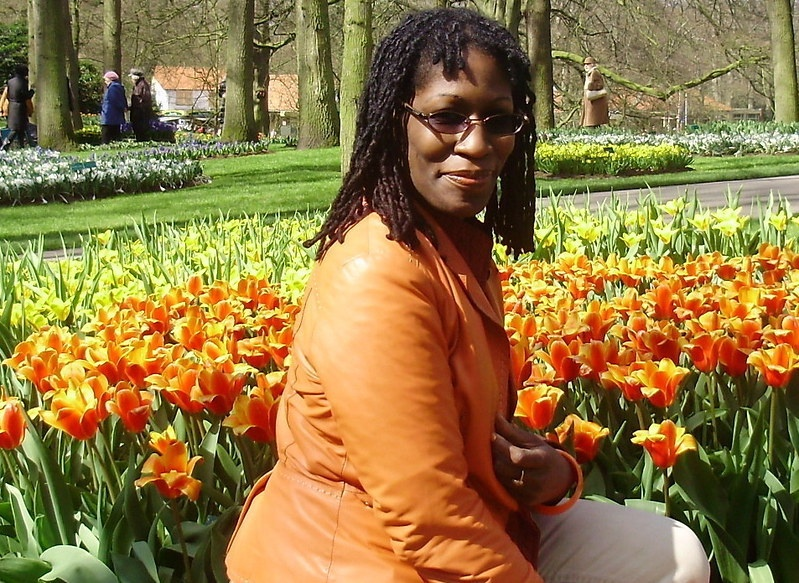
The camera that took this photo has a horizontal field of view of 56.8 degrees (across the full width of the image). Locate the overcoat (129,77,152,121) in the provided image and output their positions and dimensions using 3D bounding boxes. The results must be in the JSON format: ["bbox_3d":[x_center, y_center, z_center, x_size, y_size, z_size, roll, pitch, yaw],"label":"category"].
[{"bbox_3d":[-7.998,-5.986,22.830,0.624,1.428,2.557,-3,6,-19],"label":"overcoat"}]

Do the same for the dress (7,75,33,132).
[{"bbox_3d":[-9.825,-4.809,19.149,0.556,1.256,1.376,-4,7,-29],"label":"dress"}]

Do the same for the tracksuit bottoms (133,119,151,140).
[{"bbox_3d":[-8.379,-5.151,23.961,0.524,0.556,1.330,-3,7,-22],"label":"tracksuit bottoms"}]

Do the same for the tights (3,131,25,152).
[{"bbox_3d":[-10.247,-3.965,19.691,0.511,0.529,1.093,-4,7,-26],"label":"tights"}]
